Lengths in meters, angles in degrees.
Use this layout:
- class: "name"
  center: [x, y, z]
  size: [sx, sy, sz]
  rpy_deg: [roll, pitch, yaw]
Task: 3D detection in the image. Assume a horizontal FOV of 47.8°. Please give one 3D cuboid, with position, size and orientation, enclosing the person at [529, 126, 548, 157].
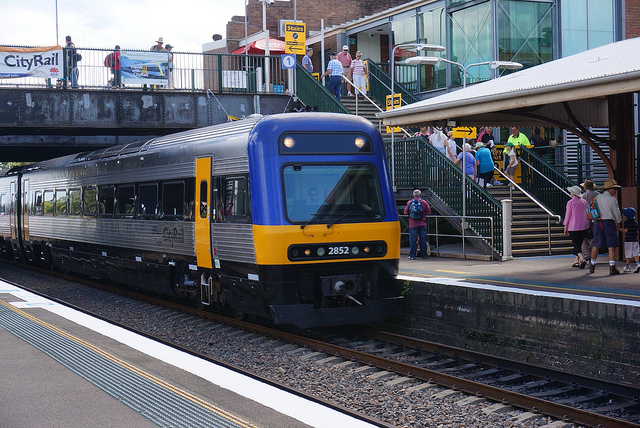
- class: "person"
  center: [7.429, -2.462, 24.422]
  size: [0.580, 0.863, 1.799]
  rpy_deg: [6, 3, 16]

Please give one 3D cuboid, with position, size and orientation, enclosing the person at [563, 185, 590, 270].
- class: "person"
  center: [6.117, 0.318, 17.088]
  size: [0.608, 1.836, 0.550]
  rpy_deg: [5, 3, 4]

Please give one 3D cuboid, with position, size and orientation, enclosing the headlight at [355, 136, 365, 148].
- class: "headlight"
  center: [0.808, -1.438, 14.276]
  size: [0.206, 0.170, 0.062]
  rpy_deg: [4, 3, -38]

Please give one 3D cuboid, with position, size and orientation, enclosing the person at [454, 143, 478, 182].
- class: "person"
  center: [4.371, -1.559, 21.326]
  size: [0.611, 0.928, 2.514]
  rpy_deg: [6, 3, 14]

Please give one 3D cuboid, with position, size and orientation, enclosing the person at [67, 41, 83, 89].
- class: "person"
  center: [-8.875, -5.408, 26.214]
  size: [0.457, 1.701, 0.740]
  rpy_deg: [3, 3, -40]

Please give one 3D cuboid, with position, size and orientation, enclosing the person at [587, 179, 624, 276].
- class: "person"
  center: [6.454, 0.291, 16.156]
  size: [0.667, 2.049, 0.940]
  rpy_deg: [5, 3, 4]

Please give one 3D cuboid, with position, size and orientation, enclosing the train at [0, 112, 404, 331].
- class: "train"
  center: [-6.587, 0.020, 21.650]
  size: [2.774, 6.184, 21.950]
  rpy_deg: [3, 4, -42]
